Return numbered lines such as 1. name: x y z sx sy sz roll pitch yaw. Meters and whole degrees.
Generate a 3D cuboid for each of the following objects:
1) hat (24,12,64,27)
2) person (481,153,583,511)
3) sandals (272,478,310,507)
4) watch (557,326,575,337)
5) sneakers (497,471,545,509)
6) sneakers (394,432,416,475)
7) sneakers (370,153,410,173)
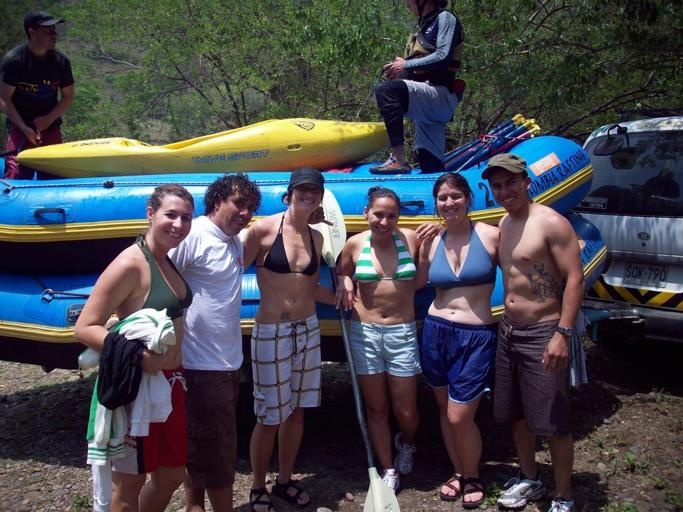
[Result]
1. hat: -3.084 -2.426 6.511 0.283 0.103 0.180 -11 28 -18
2. person: 1.526 0.625 5.020 0.731 2.810 0.632 3 14 30
3. sandals: -0.425 1.989 5.367 0.312 0.139 0.165 12 20 36
4. watch: 1.724 0.581 4.836 0.109 0.072 0.103 14 -9 -19
5. sneakers: 1.469 1.918 5.267 0.447 0.225 0.185 -22 0 -11
6. sneakers: 0.583 1.762 5.713 0.147 0.375 0.160 0 -28 -5
7. sneakers: 0.539 -0.958 6.560 0.523 0.248 0.178 1 14 11
